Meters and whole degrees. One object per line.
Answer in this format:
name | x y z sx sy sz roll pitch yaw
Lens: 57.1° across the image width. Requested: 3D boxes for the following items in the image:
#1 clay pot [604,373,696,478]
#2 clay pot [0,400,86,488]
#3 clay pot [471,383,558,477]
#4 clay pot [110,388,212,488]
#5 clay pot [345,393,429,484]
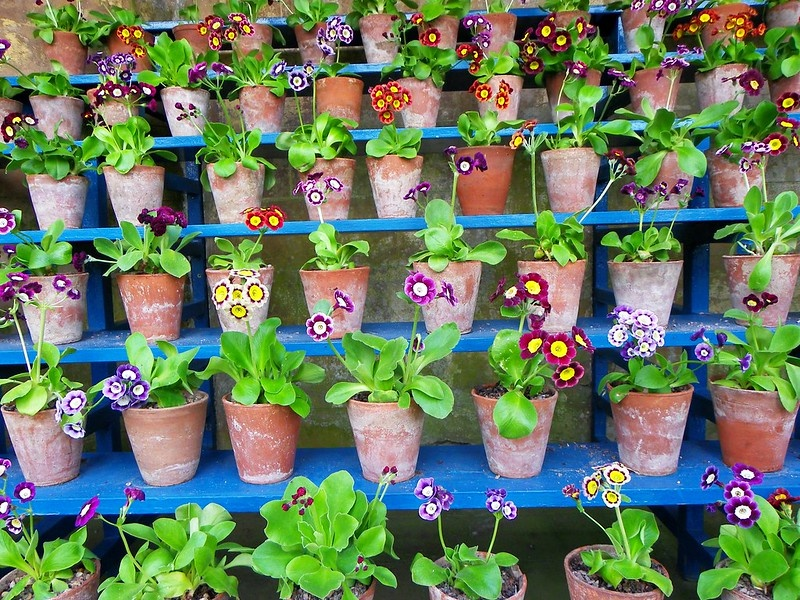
clay pot | 0.981 0.511 3.060 0.354 0.360 0.362 -2 2 0
clay pot | -1.409 0.579 3.046 0.302 0.306 0.318 0 3 0
clay pot | 0.440 0.520 2.998 0.352 0.301 0.336 0 8 0
clay pot | -0.921 0.543 2.967 0.349 0.313 0.350 -1 5 0
clay pot | -0.040 0.547 2.896 0.325 0.292 0.329 0 1 0
